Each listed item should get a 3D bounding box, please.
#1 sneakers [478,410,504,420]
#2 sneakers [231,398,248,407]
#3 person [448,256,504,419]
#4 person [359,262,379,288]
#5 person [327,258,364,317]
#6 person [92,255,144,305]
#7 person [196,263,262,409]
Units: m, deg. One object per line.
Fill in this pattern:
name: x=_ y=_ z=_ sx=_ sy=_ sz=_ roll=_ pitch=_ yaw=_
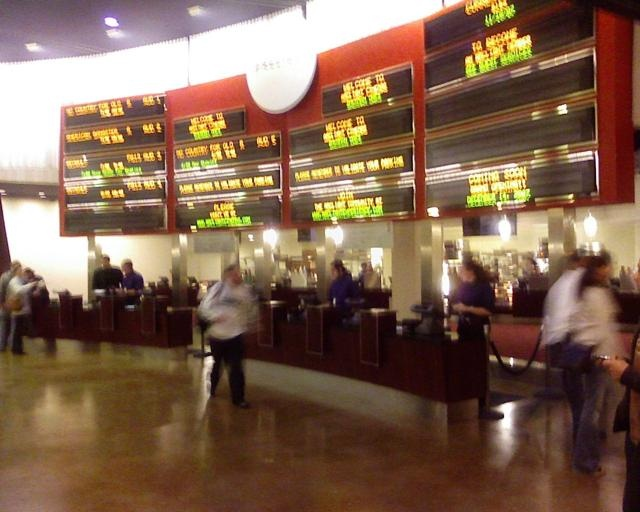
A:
sneakers: x=1.918 y=1.757 z=5.967 sx=0.270 sy=0.087 sz=0.251 roll=0 pitch=6 yaw=11
sneakers: x=-0.973 y=1.771 z=6.471 sx=0.232 sy=0.081 sz=0.122 roll=0 pitch=6 yaw=8
person: x=1.847 y=0.907 z=6.380 sx=0.556 sy=1.761 sz=0.673 roll=-11 pitch=12 yaw=-27
person: x=1.078 y=0.472 z=11.681 sx=0.424 sy=0.449 sz=0.827 roll=7 pitch=31 yaw=3
person: x=0.341 y=0.432 z=7.778 sx=0.464 sy=0.703 sz=1.100 roll=-1 pitch=6 yaw=1
person: x=-4.165 y=0.501 z=10.847 sx=0.797 sy=1.106 sz=0.380 roll=-2 pitch=-5 yaw=7
person: x=-1.185 y=0.977 z=6.945 sx=0.690 sy=1.775 sz=1.270 roll=-2 pitch=5 yaw=-7
